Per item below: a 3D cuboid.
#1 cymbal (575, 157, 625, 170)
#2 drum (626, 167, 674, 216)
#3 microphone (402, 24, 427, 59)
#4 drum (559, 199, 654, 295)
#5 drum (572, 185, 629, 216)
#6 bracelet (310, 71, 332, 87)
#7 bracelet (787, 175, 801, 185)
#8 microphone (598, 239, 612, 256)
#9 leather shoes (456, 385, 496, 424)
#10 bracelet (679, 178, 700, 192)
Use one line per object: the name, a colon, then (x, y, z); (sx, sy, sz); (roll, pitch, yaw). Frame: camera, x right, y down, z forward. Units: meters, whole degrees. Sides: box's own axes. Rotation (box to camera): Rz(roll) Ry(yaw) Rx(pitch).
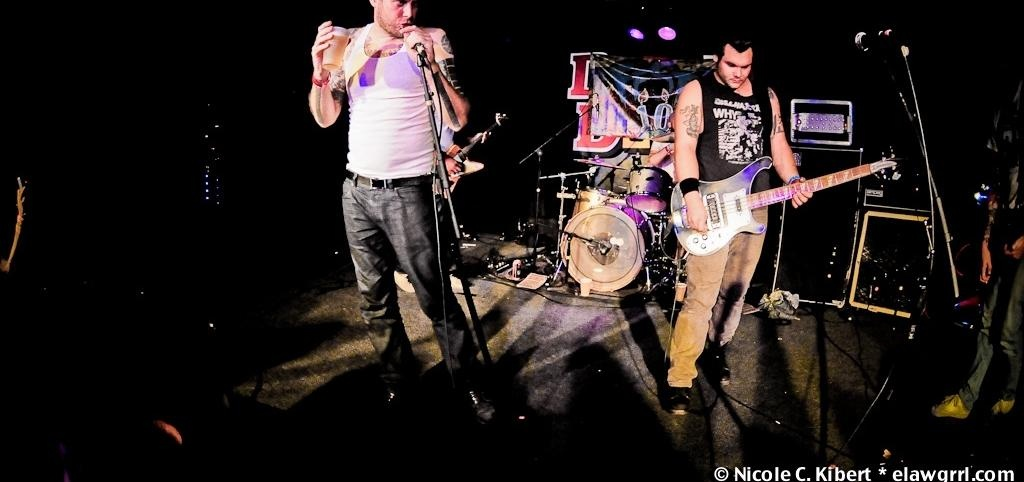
cymbal: (1.263, -1.117, 9.559); (0.824, 0.153, 0.296); (-7, 11, -31)
drum: (1.911, -0.744, 9.353); (0.669, 0.524, 0.604); (10, -21, -4)
microphone: (-0.910, -1.865, 6.214); (0.133, 0.409, 0.132); (-30, -25, 13)
drum: (1.345, 0.086, 9.144); (1.537, 1.295, 0.790); (-1, 3, 24)
drum: (1.183, -0.515, 9.244); (0.493, 0.395, 0.442); (11, -3, 3)
bracelet: (-1.877, -1.604, 6.566); (0.263, 0.098, 0.292); (3, -6, -12)
bracelet: (3.009, -0.645, 7.106); (0.129, 0.083, 0.043); (-20, -8, 13)
microphone: (1.290, 0.086, 9.130); (0.241, 0.203, 0.160); (13, -20, 3)
leather shoes: (-0.344, 1.675, 6.800); (0.293, 0.432, 0.101); (-43, -21, -11)
bracelet: (1.819, -0.575, 6.859); (0.170, 0.104, 0.164); (8, -11, -36)
